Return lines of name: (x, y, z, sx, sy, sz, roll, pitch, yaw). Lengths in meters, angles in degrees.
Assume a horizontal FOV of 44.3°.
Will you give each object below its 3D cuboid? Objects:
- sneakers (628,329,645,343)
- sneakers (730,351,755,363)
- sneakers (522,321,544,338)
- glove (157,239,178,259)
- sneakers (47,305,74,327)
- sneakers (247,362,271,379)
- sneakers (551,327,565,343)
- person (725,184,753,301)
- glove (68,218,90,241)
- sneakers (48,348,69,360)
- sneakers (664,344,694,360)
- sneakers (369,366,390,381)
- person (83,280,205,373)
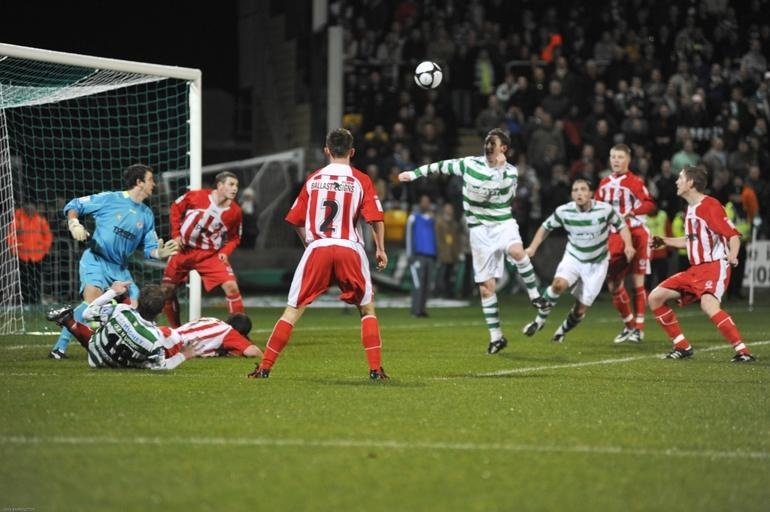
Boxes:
sneakers: (3.930, 1.248, 14.790, 0.107, 0.148, 0.311, 4, 9, 27)
sneakers: (4.928, 1.387, 13.011, 0.336, 0.149, 0.138, -4, 1, 0)
sneakers: (2.322, 1.144, 14.719, 0.369, 0.173, 0.155, -31, 36, -29)
glove: (-3.047, -0.106, 13.152, 0.276, 0.301, 0.479, 2, 9, 2)
sneakers: (-4.212, 0.768, 12.280, 0.354, 0.194, 0.174, 3, -8, -8)
sneakers: (-1.531, 1.411, 11.618, 0.371, 0.213, 0.130, 0, -2, 39)
sneakers: (2.698, 1.239, 14.642, 0.173, 0.271, 0.106, 16, -16, -27)
person: (8.184, -0.373, 21.832, 0.536, 2.815, 1.198, 6, 10, 31)
glove: (-4.150, -0.332, 12.707, 0.204, 0.118, 0.359, -27, 51, -19)
sneakers: (-4.522, 1.348, 12.959, 0.294, 0.141, 0.104, 24, -14, 19)
sneakers: (4.217, 1.351, 13.395, 0.479, 0.222, 0.165, -2, 2, -6)
sneakers: (-0.076, 1.427, 11.602, 0.215, 0.226, 0.140, -1, 5, 10)
person: (-3.283, 0.888, 12.224, 1.305, 1.076, 0.953, 7, 10, 33)
